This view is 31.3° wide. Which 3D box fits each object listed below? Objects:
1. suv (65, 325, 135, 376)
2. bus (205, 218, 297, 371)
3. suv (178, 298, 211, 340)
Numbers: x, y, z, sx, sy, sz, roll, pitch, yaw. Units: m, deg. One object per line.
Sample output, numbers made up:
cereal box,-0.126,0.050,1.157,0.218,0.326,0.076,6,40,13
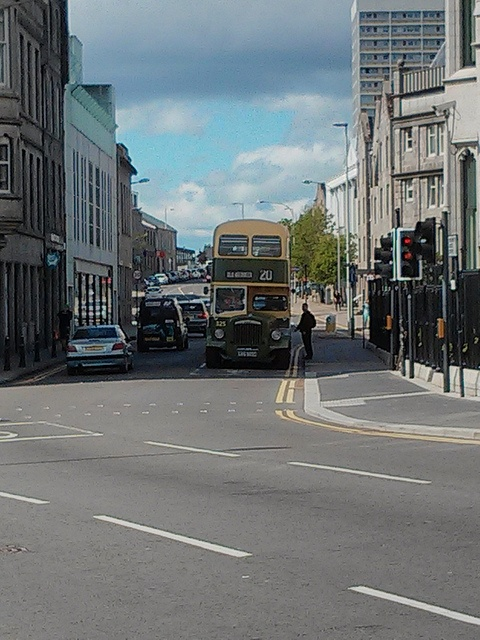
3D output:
suv,-4.251,0.909,25.915,1.787,1.460,1.572,-2,1,-5
bus,0.315,-0.879,27.711,1.954,3.649,10.415,0,1,1
suv,-2.616,-0.209,52.216,1.330,1.663,2.740,0,7,2
